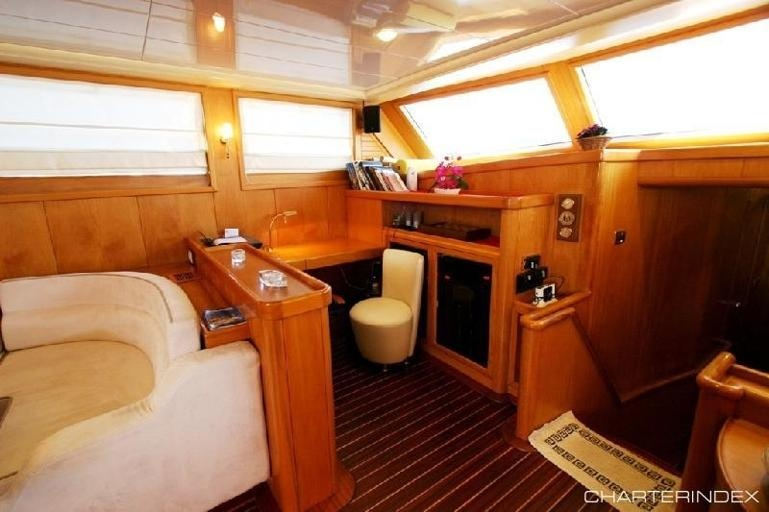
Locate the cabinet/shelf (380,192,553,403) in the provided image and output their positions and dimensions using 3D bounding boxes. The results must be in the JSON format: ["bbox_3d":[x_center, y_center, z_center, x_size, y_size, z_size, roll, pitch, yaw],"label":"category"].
[{"bbox_3d":[0.773,0.425,4.483,0.638,1.663,1.745,-7,13,-36],"label":"cabinet/shelf"}]

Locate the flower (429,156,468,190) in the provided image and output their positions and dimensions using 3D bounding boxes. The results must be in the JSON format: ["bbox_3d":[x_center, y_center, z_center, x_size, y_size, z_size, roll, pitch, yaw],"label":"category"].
[{"bbox_3d":[0.634,-0.816,4.935,0.341,0.334,0.325,-9,24,-25],"label":"flower"}]

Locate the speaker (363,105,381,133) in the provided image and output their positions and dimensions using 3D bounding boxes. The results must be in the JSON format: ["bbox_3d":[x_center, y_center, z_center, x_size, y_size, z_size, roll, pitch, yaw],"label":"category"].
[{"bbox_3d":[-0.170,-1.574,5.640,0.234,0.303,0.094,0,17,18],"label":"speaker"}]

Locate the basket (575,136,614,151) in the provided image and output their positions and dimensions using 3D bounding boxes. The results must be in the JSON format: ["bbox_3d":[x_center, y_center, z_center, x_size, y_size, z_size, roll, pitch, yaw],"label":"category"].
[{"bbox_3d":[1.755,-0.959,4.176,0.234,0.113,0.185,7,19,39],"label":"basket"}]

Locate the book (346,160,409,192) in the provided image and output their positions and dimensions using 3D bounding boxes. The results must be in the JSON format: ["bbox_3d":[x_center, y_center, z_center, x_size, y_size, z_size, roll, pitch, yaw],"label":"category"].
[{"bbox_3d":[-0.095,-0.865,5.364,0.398,0.157,0.553,-10,16,-37],"label":"book"}]
